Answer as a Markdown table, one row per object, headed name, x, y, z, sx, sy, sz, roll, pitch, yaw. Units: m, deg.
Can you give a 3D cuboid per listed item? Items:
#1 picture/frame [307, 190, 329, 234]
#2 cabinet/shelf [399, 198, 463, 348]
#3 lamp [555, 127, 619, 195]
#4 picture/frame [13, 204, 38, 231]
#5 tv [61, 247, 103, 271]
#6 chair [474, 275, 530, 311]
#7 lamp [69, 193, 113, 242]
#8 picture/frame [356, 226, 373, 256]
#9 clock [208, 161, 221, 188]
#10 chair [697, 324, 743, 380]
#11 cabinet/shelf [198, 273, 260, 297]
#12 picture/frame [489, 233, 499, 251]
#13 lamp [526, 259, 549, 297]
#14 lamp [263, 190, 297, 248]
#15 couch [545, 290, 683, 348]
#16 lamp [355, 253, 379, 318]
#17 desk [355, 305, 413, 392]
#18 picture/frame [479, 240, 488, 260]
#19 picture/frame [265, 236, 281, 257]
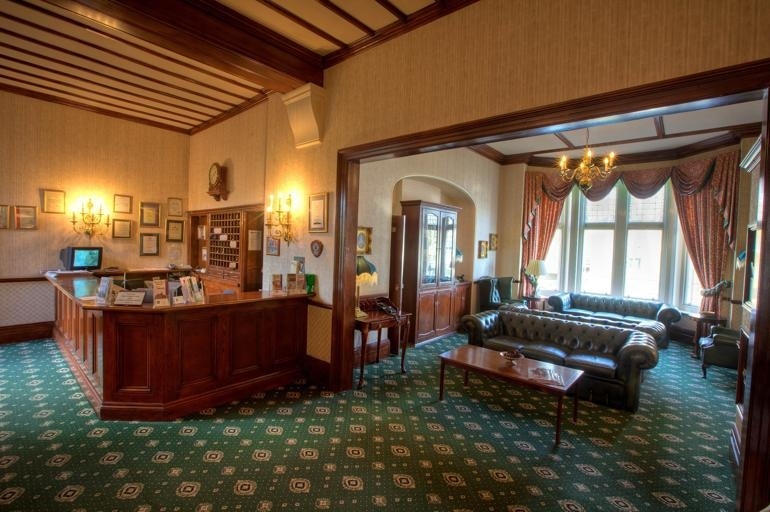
| name | x | y | z | sx | sy | sz | roll | pitch | yaw |
| --- | --- | --- | --- | --- | --- | --- | --- | --- | --- |
| picture/frame | -1.077 | -0.684 | 7.617 | 0.447 | 0.637 | 0.088 | 4 | 4 | 44 |
| cabinet/shelf | 0.908 | 0.323 | 9.757 | 0.440 | 2.785 | 1.439 | 3 | 4 | 42 |
| lamp | 3.937 | -1.985 | 9.364 | 0.999 | 1.465 | 1.024 | 2 | -2 | -35 |
| picture/frame | -6.926 | -0.732 | 9.124 | 0.070 | 0.698 | 0.509 | 3 | 3 | 42 |
| tv | -6.116 | 0.027 | 9.544 | 0.517 | 0.385 | 0.526 | 2 | 3 | 36 |
| chair | 2.683 | 1.098 | 11.174 | 0.999 | 1.140 | 1.095 | 5 | 2 | 30 |
| lamp | -6.058 | -0.746 | 9.794 | 0.698 | 0.921 | 0.193 | -1 | 3 | -32 |
| picture/frame | -0.387 | -0.246 | 8.409 | 0.113 | 0.419 | 0.415 | 3 | 4 | 28 |
| clock | -3.528 | -1.651 | 9.876 | 0.116 | 0.491 | 0.487 | -1 | -1 | -39 |
| chair | 5.817 | 1.686 | 8.343 | 0.839 | 1.020 | 0.816 | -1 | 0 | 25 |
| cabinet/shelf | -3.227 | 0.579 | 9.831 | 1.625 | 0.396 | 0.467 | 3 | 4 | 40 |
| picture/frame | 2.660 | -0.347 | 11.834 | 0.073 | 0.389 | 0.456 | 0 | 1 | 37 |
| lamp | 3.566 | 0.516 | 11.391 | 0.427 | 0.875 | 1.504 | 2 | 3 | 17 |
| lamp | -1.861 | -0.646 | 8.256 | 0.181 | 0.904 | 0.796 | -2 | 4 | -40 |
| couch | 4.967 | 1.356 | 10.662 | 2.553 | 0.940 | 0.937 | 5 | -4 | 34 |
| lamp | -0.342 | 0.490 | 8.020 | 0.312 | 0.967 | 0.934 | 1 | 3 | -2 |
| desk | 0.164 | 1.647 | 8.204 | 1.093 | 1.042 | 0.759 | -17 | -39 | 34 |
| picture/frame | 2.303 | -0.147 | 11.398 | 0.062 | 0.389 | 0.453 | 1 | 2 | 39 |
| picture/frame | -2.005 | -0.164 | 8.482 | 0.045 | 0.289 | 0.337 | -3 | 6 | -42 |
